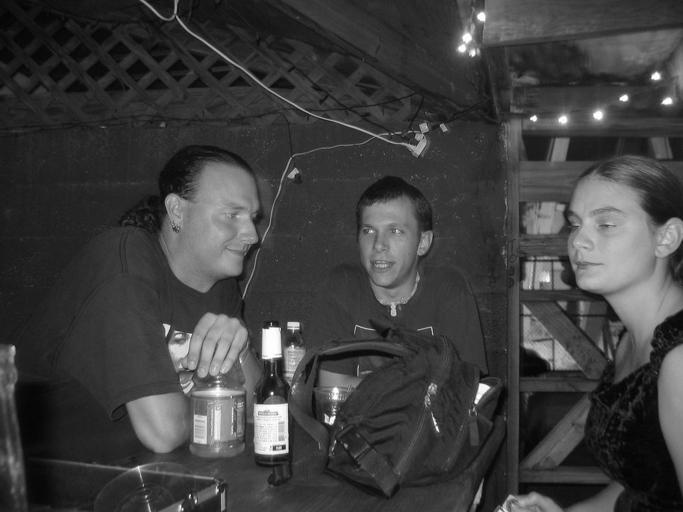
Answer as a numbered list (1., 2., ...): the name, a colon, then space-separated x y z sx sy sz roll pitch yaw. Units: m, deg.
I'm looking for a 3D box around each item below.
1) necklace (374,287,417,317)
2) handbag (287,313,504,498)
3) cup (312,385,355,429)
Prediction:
1. necklace: 0.279 0.243 3.562 0.126 0.080 0.149 4 32 5
2. handbag: 0.145 0.513 2.352 0.620 0.272 0.625 -26 47 -30
3. cup: -0.042 0.546 2.511 0.142 0.134 0.131 4 -8 1
